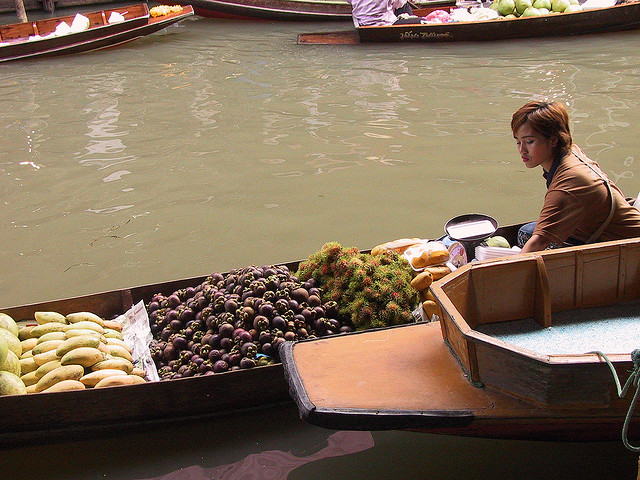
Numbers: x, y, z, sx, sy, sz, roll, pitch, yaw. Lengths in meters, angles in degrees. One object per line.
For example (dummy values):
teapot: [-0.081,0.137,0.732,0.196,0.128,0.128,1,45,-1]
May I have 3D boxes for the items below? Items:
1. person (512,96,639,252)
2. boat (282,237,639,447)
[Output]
person: [1.612,-0.372,3.503,0.742,1.008,0.561,-4,19,12]
boat: [1.049,0.579,3.092,2.912,0.611,0.865,-5,35,0]
